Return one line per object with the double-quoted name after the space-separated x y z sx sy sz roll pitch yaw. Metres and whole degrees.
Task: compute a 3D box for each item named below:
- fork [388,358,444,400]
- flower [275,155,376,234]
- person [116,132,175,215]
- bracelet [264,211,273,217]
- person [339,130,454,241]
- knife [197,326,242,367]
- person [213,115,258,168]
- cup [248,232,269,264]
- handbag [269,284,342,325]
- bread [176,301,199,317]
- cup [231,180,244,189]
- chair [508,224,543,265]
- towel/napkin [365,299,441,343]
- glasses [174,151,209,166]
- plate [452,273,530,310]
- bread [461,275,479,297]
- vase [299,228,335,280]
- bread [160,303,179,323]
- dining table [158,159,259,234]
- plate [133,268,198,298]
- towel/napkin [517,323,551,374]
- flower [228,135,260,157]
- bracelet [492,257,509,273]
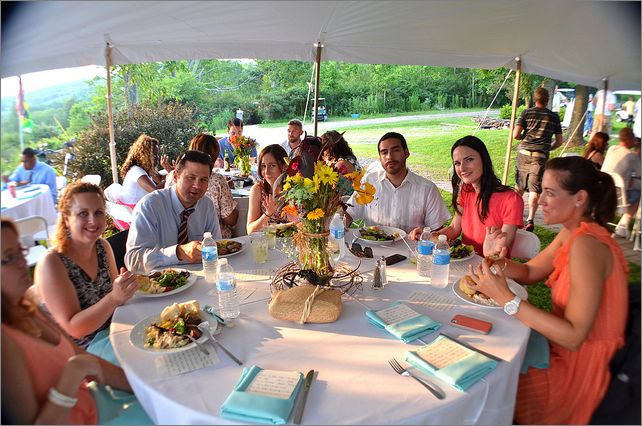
0.539 0.927 2.139 0.046 0.037 0.267 -25 39 -31 "fork"
0.000 -0.140 2.832 0.727 0.502 0.734 1 10 -37 "flower"
-2.593 -0.538 5.624 0.835 1.188 0.639 12 16 -7 "person"
-0.571 -0.010 4.074 0.070 0.058 0.065 8 8 43 "bracelet"
0.865 -0.259 4.372 1.255 1.231 0.464 3 8 24 "person"
-0.638 0.813 2.339 0.041 0.032 0.282 -30 50 -32 "knife"
-1.808 -1.434 7.856 0.811 1.081 0.604 -10 35 -24 "person"
-0.511 0.294 3.230 0.196 0.227 0.191 0 -3 0 "cup"
-0.101 0.592 2.571 0.357 0.129 0.263 0 4 8 "handbag"
-0.871 0.603 2.502 0.093 0.034 0.093 -18 30 -33 "bread"
-1.217 -0.438 5.530 0.134 0.095 0.128 0 7 0 "cup"
1.884 0.253 3.499 0.304 0.235 0.243 9 20 33 "chair"
0.518 0.690 2.487 0.253 0.058 0.246 -11 23 -34 "towel/napkin"
-1.174 -0.506 3.474 0.305 0.150 0.169 -5 12 -21 "glasses"
1.147 0.519 2.572 0.404 0.407 0.047 16 55 17 "plate"
1.058 0.508 2.740 0.124 0.121 0.115 10 -10 8 "bread"
-0.049 0.275 2.790 0.342 0.468 0.296 -1 2 2 "vase"
-0.970 0.625 2.468 0.109 0.042 0.104 -14 23 29 "bread"
-1.390 -0.139 4.972 0.806 0.819 0.816 1 8 4 "dining table"
-1.163 0.491 2.850 0.388 0.038 0.383 -6 26 -20 "plate"
1.466 0.899 2.591 0.265 0.257 0.079 2 -19 10 "towel/napkin"
-1.411 -1.232 6.701 0.462 0.459 0.428 6 18 15 "flower"
1.404 0.380 2.904 0.121 0.059 0.156 7 37 2 "bracelet"
